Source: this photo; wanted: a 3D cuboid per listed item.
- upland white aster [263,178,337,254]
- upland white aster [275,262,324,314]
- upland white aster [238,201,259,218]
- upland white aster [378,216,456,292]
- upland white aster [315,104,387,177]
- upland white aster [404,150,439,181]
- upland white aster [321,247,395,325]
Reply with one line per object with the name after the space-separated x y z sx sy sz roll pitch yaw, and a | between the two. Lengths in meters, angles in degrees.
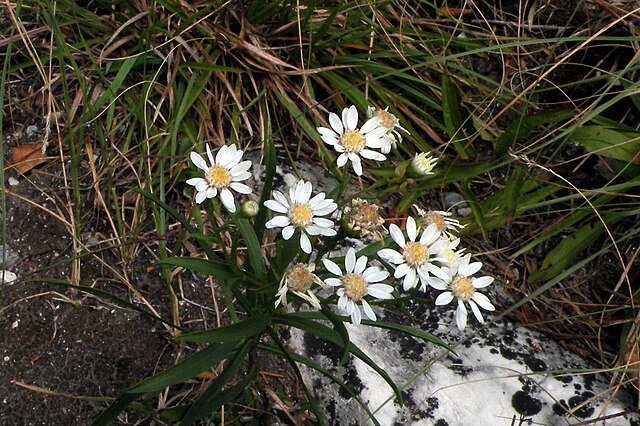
-0.080 0.011 2.408 0.311 0.169 0.226 19 61 8 | upland white aster
-0.075 0.292 2.368 0.196 0.081 0.189 9 61 2 | upland white aster
-0.298 -0.003 2.421 0.066 0.067 0.074 -2 73 36 | upland white aster
0.424 0.182 2.456 0.307 0.148 0.320 44 95 17 | upland white aster
0.127 -0.365 2.547 0.218 0.244 0.103 -9 74 6 | upland white aster
0.469 -0.203 2.588 0.133 0.081 0.141 -2 53 -20 | upland white aster
0.143 0.317 2.428 0.314 0.141 0.347 -14 36 -32 | upland white aster
